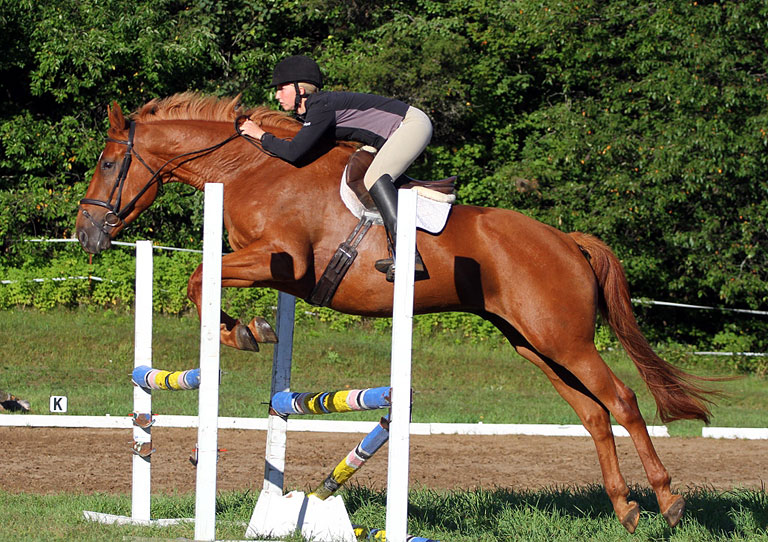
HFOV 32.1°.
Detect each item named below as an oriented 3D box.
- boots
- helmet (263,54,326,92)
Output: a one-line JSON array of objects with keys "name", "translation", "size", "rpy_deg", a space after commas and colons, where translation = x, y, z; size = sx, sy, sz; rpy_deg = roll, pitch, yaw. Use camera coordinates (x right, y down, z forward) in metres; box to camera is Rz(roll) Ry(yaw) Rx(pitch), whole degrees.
[{"name": "boots", "translation": [0.125, -0.591, 16.434], "size": [0.507, 1.381, 0.550], "rpy_deg": [-7, -27, -10]}, {"name": "helmet", "translation": [-1.117, -2.475, 16.836], "size": [0.524, 0.289, 0.395], "rpy_deg": [3, -4, -5]}]
